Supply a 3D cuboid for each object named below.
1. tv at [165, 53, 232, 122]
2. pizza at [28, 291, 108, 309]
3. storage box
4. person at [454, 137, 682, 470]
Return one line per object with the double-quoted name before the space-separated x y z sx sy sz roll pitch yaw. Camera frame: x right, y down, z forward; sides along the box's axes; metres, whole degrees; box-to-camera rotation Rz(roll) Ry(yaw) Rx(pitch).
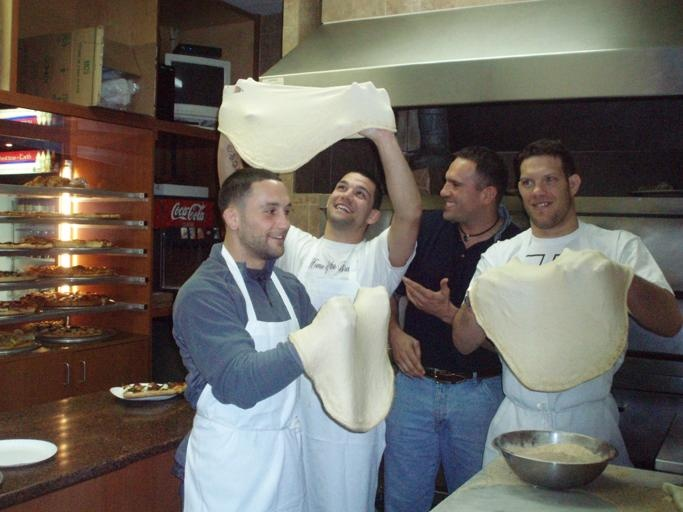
"tv" -1.075 -1.115 4.140 0.236 0.414 0.428 20 22 32
"pizza" -1.701 0.282 3.760 0.493 0.105 0.214 -3 11 -8
"storage box" -1.569 -1.006 3.579 0.490 0.330 0.496 -2 -4 21
"person" 0.790 0.188 2.165 0.756 1.180 0.378 1 12 10
